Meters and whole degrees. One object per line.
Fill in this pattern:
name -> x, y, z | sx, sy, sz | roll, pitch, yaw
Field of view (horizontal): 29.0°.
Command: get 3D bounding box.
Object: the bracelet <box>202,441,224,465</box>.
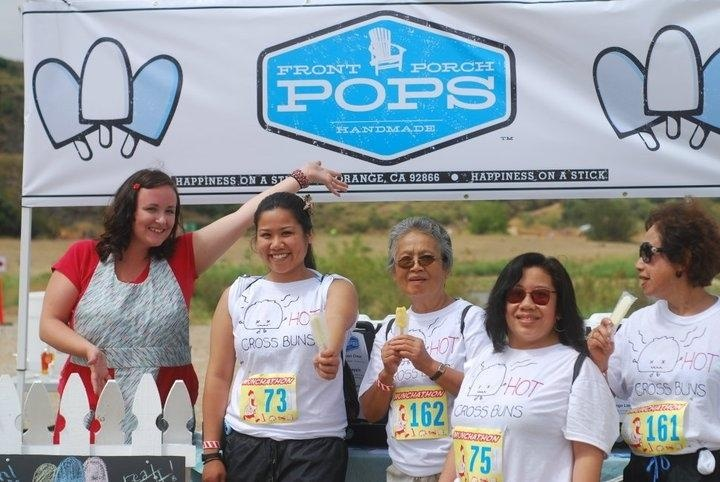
bracelet -> -1.168, 1.675, 11.190 | 0.188, 0.129, 0.190 | -1, -20, -2

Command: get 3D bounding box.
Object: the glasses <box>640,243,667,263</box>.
glasses -> 2.310, 0.088, 11.018 | 0.166, 0.072, 0.148 | 4, -4, -1

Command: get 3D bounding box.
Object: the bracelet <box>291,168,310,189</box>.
bracelet -> -0.512, -0.514, 11.778 | 0.088, 0.144, 0.160 | -37, -12, -17

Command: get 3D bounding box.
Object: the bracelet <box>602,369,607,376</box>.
bracelet -> 1.921, 1.023, 10.971 | 0.014, 0.057, 0.042 | -20, -43, 4
